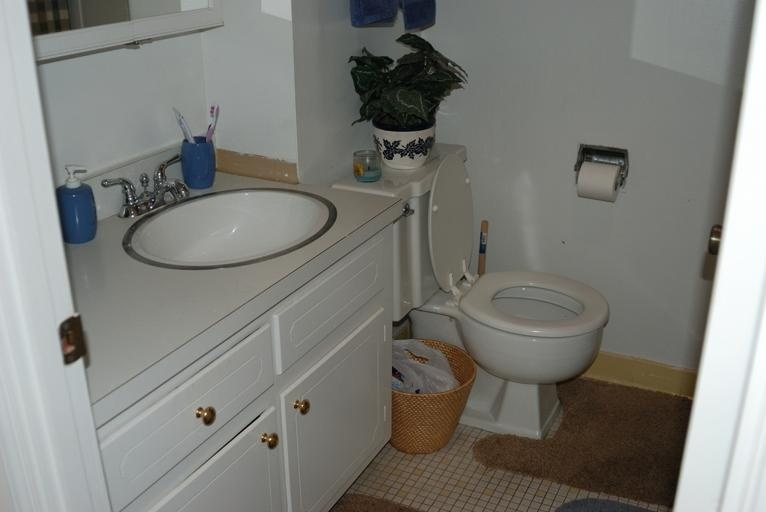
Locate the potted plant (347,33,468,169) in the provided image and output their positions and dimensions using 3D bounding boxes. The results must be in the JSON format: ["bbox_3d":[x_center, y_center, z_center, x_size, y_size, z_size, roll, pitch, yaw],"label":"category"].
[{"bbox_3d":[0.105,-0.609,2.307,0.479,0.468,0.487,3,36,10],"label":"potted plant"}]

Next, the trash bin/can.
[{"bbox_3d":[0.200,0.567,2.288,0.280,0.347,0.331,8,24,14],"label":"trash bin/can"}]

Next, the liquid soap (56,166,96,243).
[{"bbox_3d":[-0.830,-0.150,1.574,0.084,0.194,0.148,-10,26,-27],"label":"liquid soap"}]

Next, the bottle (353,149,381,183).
[{"bbox_3d":[-0.058,-0.320,2.080,0.106,0.102,0.107,1,22,7],"label":"bottle"}]

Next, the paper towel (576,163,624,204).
[{"bbox_3d":[0.842,-0.272,2.250,0.167,0.145,0.151,11,8,25],"label":"paper towel"}]

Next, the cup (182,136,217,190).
[{"bbox_3d":[-0.585,-0.291,1.838,0.108,0.154,0.107,3,33,-2],"label":"cup"}]

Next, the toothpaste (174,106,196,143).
[{"bbox_3d":[-0.625,-0.409,1.859,0.033,0.157,0.050,41,75,12],"label":"toothpaste"}]

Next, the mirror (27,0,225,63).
[{"bbox_3d":[-0.659,-0.616,1.567,0.063,0.149,0.617,14,26,25],"label":"mirror"}]
